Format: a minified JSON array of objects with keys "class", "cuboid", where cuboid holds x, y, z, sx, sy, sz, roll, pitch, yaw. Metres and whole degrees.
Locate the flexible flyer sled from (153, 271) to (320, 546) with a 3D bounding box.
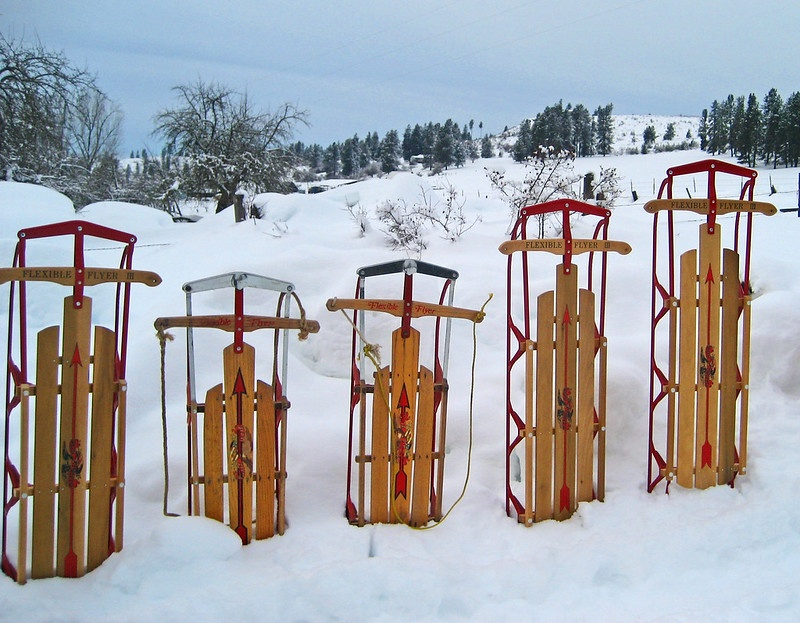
[{"class":"flexible flyer sled","cuboid":[-1.664,0.843,9.393,1.488,2.541,1.404,-2,7,-21]}]
